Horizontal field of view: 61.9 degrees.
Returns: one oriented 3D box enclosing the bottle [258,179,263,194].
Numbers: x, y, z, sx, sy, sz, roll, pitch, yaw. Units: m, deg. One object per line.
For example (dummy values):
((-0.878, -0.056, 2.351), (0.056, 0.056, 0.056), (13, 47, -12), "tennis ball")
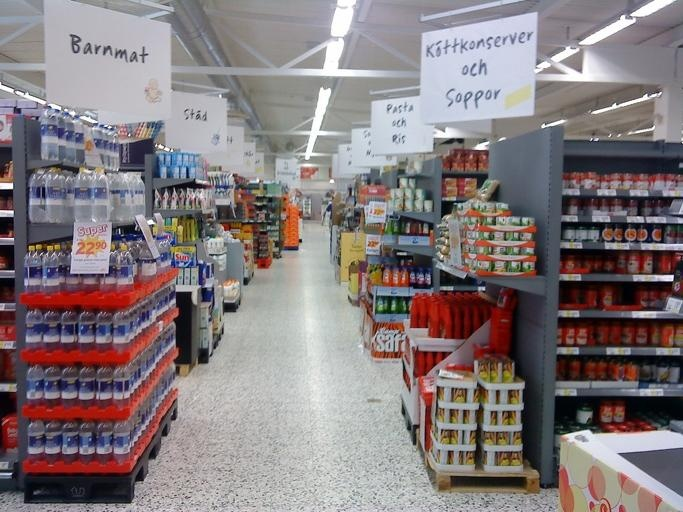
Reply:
((-2.306, -1.902, 16.144), (0.110, 0.105, 0.511), (-4, 30, -6), "bottle")
